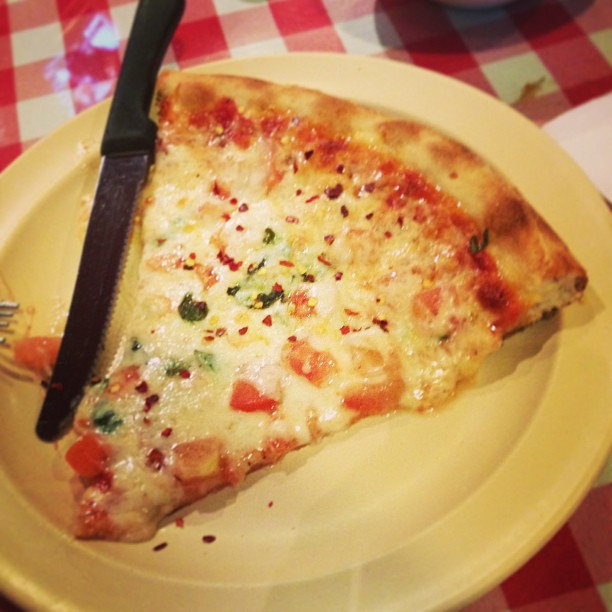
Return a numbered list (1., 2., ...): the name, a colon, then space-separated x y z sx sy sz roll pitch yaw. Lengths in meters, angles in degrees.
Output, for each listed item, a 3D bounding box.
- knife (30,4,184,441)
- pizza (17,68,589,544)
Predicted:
1. knife: -0.257 -0.160 0.995 0.097 0.040 0.702 15 77 5
2. pizza: -0.015 0.017 0.891 0.626 0.124 0.633 18 77 5
